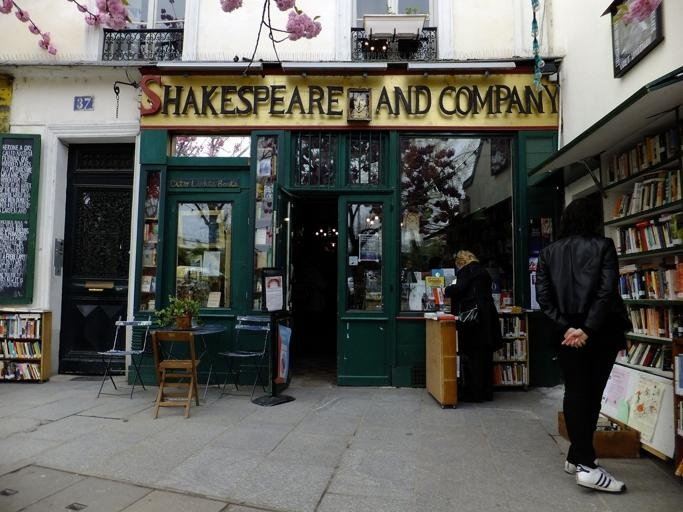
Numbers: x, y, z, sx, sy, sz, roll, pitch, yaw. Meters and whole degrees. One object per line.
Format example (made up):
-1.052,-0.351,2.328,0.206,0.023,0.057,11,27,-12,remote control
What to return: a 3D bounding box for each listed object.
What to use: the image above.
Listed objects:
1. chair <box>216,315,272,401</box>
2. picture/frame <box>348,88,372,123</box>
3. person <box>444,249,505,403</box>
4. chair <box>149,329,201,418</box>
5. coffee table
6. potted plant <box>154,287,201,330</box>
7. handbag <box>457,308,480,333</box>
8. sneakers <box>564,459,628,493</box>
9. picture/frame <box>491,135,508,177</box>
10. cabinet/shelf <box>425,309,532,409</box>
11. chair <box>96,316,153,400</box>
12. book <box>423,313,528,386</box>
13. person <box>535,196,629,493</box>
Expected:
-1.410,1.504,8.647,0.700,1.118,0.824,2,-14,-13,chair
0.266,-2.304,8.870,0.372,0.109,0.534,-1,-47,0,picture/frame
1.781,0.963,7.951,0.713,1.990,0.457,1,5,16,person
-2.219,1.458,7.948,0.585,1.161,1.852,-1,6,-14,chair
-2.216,1.524,8.041,0.696,0.938,1.355,-1,-14,-1,coffee table
-2.275,0.726,8.131,0.574,0.467,0.518,-1,-1,0,potted plant
1.686,0.845,7.804,0.301,0.128,0.254,-28,4,-13,handbag
2.422,2.082,5.546,0.565,0.299,0.216,4,-8,-5,sneakers
2.385,-1.514,8.898,0.287,0.558,0.120,1,5,13,picture/frame
1.815,1.417,7.951,1.049,1.277,0.395,-2,-5,-12,cabinet/shelf
-3.106,1.458,8.491,0.651,1.060,0.698,1,-3,-12,chair
1.799,1.290,7.966,0.913,1.019,0.347,0,-10,-1,book
2.308,0.797,5.640,0.760,2.714,0.747,2,-2,-42,person
